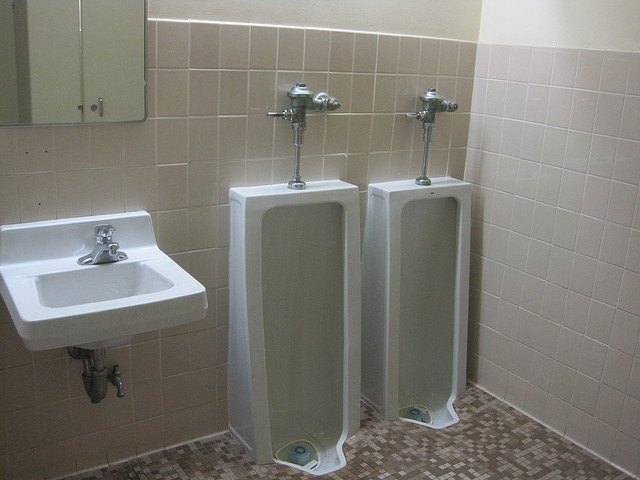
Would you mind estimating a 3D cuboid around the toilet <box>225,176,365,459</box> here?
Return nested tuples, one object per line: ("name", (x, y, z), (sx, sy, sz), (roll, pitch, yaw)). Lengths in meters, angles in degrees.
("toilet", (-0.127, 0.338, 2.255), (0.646, 1.202, 0.489), (-4, 18, -13))

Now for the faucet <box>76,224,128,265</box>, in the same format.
("faucet", (-0.806, 0.000, 1.872), (0.148, 0.110, 0.129), (-6, 17, -26))

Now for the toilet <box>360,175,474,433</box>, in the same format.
("toilet", (0.497, 0.293, 2.534), (0.597, 1.172, 0.510), (-5, 18, -15))
